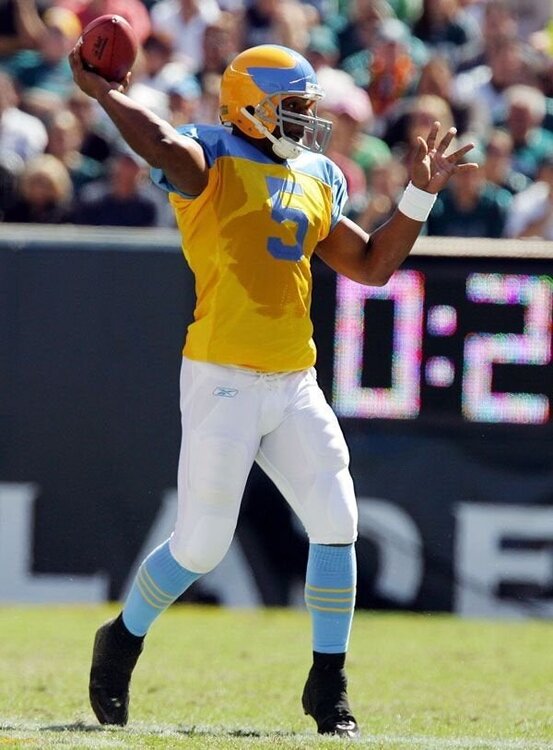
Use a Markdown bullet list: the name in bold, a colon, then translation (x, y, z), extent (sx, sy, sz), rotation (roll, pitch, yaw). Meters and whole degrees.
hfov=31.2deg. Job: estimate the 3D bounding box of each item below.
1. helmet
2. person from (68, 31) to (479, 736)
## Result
- **helmet**: translation (-0.029, -0.717, 2.559), extent (0.296, 0.205, 0.204), rotation (2, 6, 29)
- **person**: translation (-0.056, 0.025, 2.482), extent (0.989, 1.728, 0.459), rotation (3, -3, -12)
